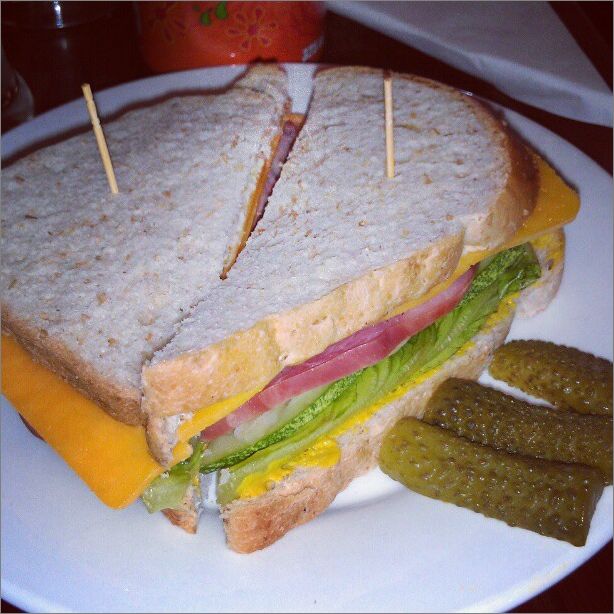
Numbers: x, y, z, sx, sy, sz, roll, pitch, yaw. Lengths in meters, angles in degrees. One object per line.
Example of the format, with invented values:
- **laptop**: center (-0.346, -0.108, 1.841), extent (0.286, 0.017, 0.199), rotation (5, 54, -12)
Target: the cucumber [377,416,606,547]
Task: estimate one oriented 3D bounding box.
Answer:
- **cucumber**: center (0.373, 0.345, 1.314), extent (0.373, 0.115, 0.196), rotation (17, 76, 20)
